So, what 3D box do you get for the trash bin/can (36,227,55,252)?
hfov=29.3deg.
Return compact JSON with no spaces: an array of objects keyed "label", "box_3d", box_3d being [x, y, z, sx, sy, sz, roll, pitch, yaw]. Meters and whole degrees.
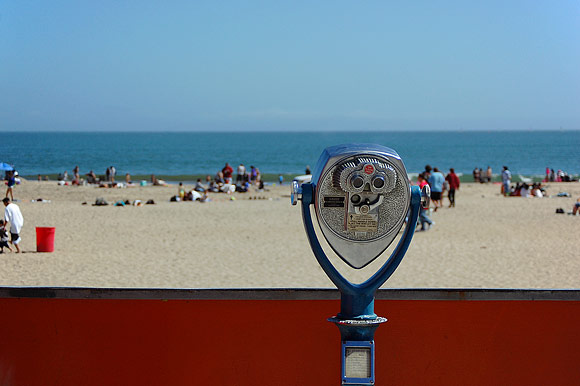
[{"label":"trash bin/can","box_3d":[-2.006,0.374,9.101,0.143,0.216,0.139,0,-1,31]}]
